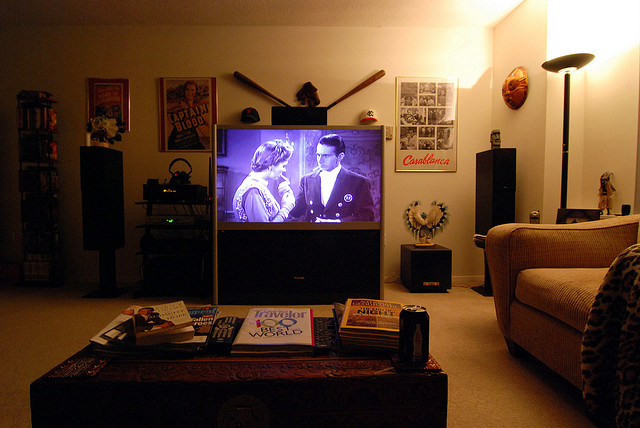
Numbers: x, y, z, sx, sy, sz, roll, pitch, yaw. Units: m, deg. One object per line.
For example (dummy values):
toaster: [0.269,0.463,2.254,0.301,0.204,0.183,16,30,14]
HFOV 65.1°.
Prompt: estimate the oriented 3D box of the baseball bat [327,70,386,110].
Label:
baseball bat: [0.425,-1.476,5.838,0.860,0.140,0.064,-36,12,-1]

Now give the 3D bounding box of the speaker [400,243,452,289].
speaker: [1.136,0.562,5.633,0.451,0.465,0.550,2,5,-7]

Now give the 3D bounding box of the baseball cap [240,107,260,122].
baseball cap: [-0.810,-1.150,5.747,0.211,0.156,0.145,-2,7,-8]

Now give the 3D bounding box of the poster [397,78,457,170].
poster: [1.233,-1.113,5.864,0.773,1.056,0.031,0,2,-4]

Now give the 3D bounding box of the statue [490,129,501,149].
statue: [1.891,-0.810,5.406,0.085,0.207,0.203,1,7,19]

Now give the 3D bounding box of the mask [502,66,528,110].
mask: [2.115,-1.375,5.451,0.103,0.456,0.303,-3,7,-17]

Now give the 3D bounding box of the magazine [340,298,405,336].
magazine: [0.381,0.740,3.462,0.451,0.107,0.458,3,18,4]

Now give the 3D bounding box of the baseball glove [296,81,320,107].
baseball glove: [-0.153,-1.398,5.798,0.344,0.319,0.140,4,22,8]

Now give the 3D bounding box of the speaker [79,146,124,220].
speaker: [-2.255,-0.324,5.265,0.376,0.785,0.414,3,5,-11]

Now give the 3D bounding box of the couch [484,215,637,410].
couch: [1.861,0.646,3.689,1.264,0.953,1.220,3,-2,-11]

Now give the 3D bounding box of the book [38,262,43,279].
book: [-3.143,0.627,5.612,0.042,0.187,0.008,-1,7,0]

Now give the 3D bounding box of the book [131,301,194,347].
book: [-1.077,0.740,3.396,0.396,0.230,0.273,-3,7,-18]

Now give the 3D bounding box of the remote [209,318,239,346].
remote: [-0.666,0.807,3.417,0.130,0.042,0.180,5,32,-2]

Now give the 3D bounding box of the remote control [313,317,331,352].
remote control: [0.006,0.829,3.478,0.108,0.144,0.294,-2,7,-3]

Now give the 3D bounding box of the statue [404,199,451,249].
statue: [1.265,0.092,5.860,0.590,0.589,0.214,0,3,8]

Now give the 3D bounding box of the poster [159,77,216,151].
poster: [-1.543,-1.164,5.828,0.648,0.832,0.084,-1,7,-2]

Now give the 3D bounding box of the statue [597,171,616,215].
statue: [2.722,-0.212,4.768,0.111,0.392,0.151,-1,7,2]

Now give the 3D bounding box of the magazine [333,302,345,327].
magazine: [0.129,0.691,3.510,0.121,0.116,0.028,5,-12,-5]

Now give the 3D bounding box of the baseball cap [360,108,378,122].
baseball cap: [0.551,-1.138,5.780,0.194,0.134,0.311,2,2,1]

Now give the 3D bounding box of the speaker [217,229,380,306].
speaker: [-0.224,0.451,5.208,1.528,0.712,0.776,0,1,-2]

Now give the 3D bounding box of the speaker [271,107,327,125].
speaker: [-0.218,-0.993,5.045,0.535,0.168,0.110,-2,7,-7]

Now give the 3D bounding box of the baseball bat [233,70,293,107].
baseball bat: [-0.652,-1.417,5.952,0.156,0.162,1.156,36,8,33]
